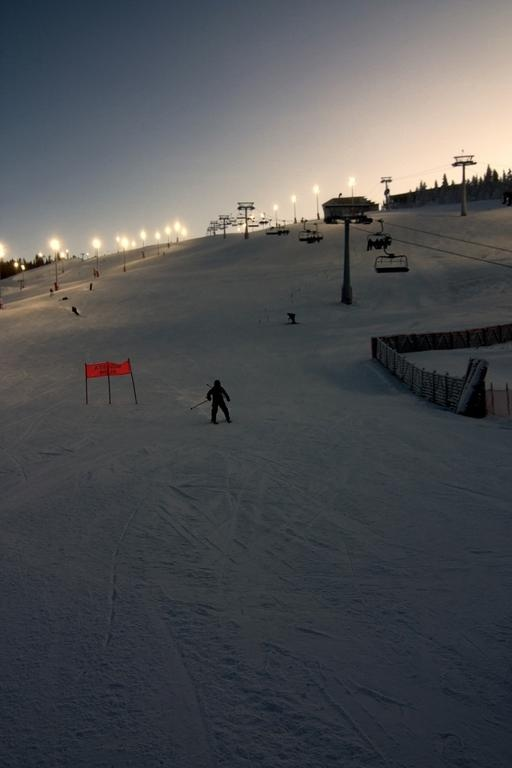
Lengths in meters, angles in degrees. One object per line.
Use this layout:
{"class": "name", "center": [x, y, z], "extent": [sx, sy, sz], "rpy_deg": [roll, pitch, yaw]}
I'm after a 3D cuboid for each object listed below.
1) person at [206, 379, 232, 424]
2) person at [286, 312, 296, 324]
{"class": "person", "center": [-1.226, 0.634, 20.996], "extent": [0.925, 2.154, 0.779], "rpy_deg": [1, 46, 5]}
{"class": "person", "center": [2.493, -4.535, 42.959], "extent": [0.644, 0.734, 1.921], "rpy_deg": [2, 12, 2]}
